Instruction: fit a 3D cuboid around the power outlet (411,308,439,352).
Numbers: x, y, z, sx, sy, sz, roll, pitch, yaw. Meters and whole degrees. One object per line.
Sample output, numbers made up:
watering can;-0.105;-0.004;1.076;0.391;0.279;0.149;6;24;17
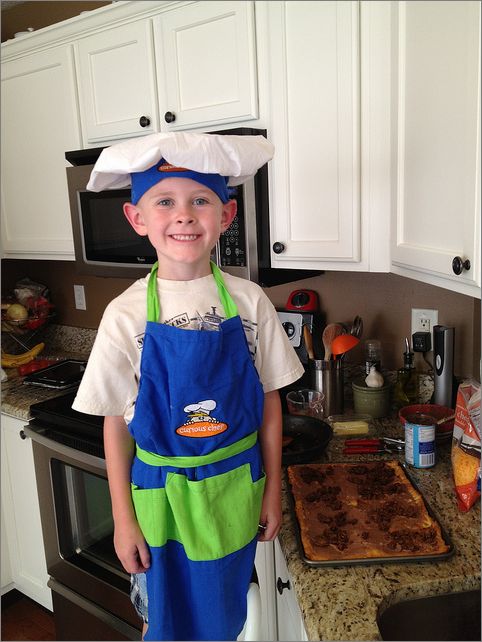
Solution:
power outlet;0.535;0.025;1.568;0.077;0.106;0.186;-1;10;17

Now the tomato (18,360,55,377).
tomato;-0.860;0.177;2.270;0.078;0.038;0.104;-7;16;20

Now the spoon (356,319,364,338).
spoon;0.360;0.026;1.628;0.014;0.047;0.038;6;0;18

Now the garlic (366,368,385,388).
garlic;0.386;0.166;1.586;0.050;0.049;0.050;-2;7;-18

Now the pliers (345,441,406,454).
pliers;0.325;0.323;1.340;0.158;0.016;0.050;-2;31;2

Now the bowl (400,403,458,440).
bowl;0.472;0.251;1.350;0.133;0.070;0.161;4;13;39

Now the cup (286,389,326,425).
cup;0.191;0.245;1.511;0.082;0.066;0.091;-2;-2;-1

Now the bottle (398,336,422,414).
bottle;0.474;0.157;1.544;0.064;0.207;0.107;0;11;22

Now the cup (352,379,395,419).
cup;0.379;0.229;1.601;0.102;0.078;0.100;0;4;0

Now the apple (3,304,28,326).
apple;-0.994;-0.027;2.396;0.095;0.106;0.094;1;4;-17

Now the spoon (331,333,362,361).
spoon;0.298;0.076;1.560;0.074;0.067;0.067;-6;10;-13

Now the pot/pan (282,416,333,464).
pot/pan;0.168;0.300;1.360;0.126;0.059;0.248;-3;10;6

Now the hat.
hat;-0.121;-0.269;0.976;0.312;0.120;0.287;6;14;43
